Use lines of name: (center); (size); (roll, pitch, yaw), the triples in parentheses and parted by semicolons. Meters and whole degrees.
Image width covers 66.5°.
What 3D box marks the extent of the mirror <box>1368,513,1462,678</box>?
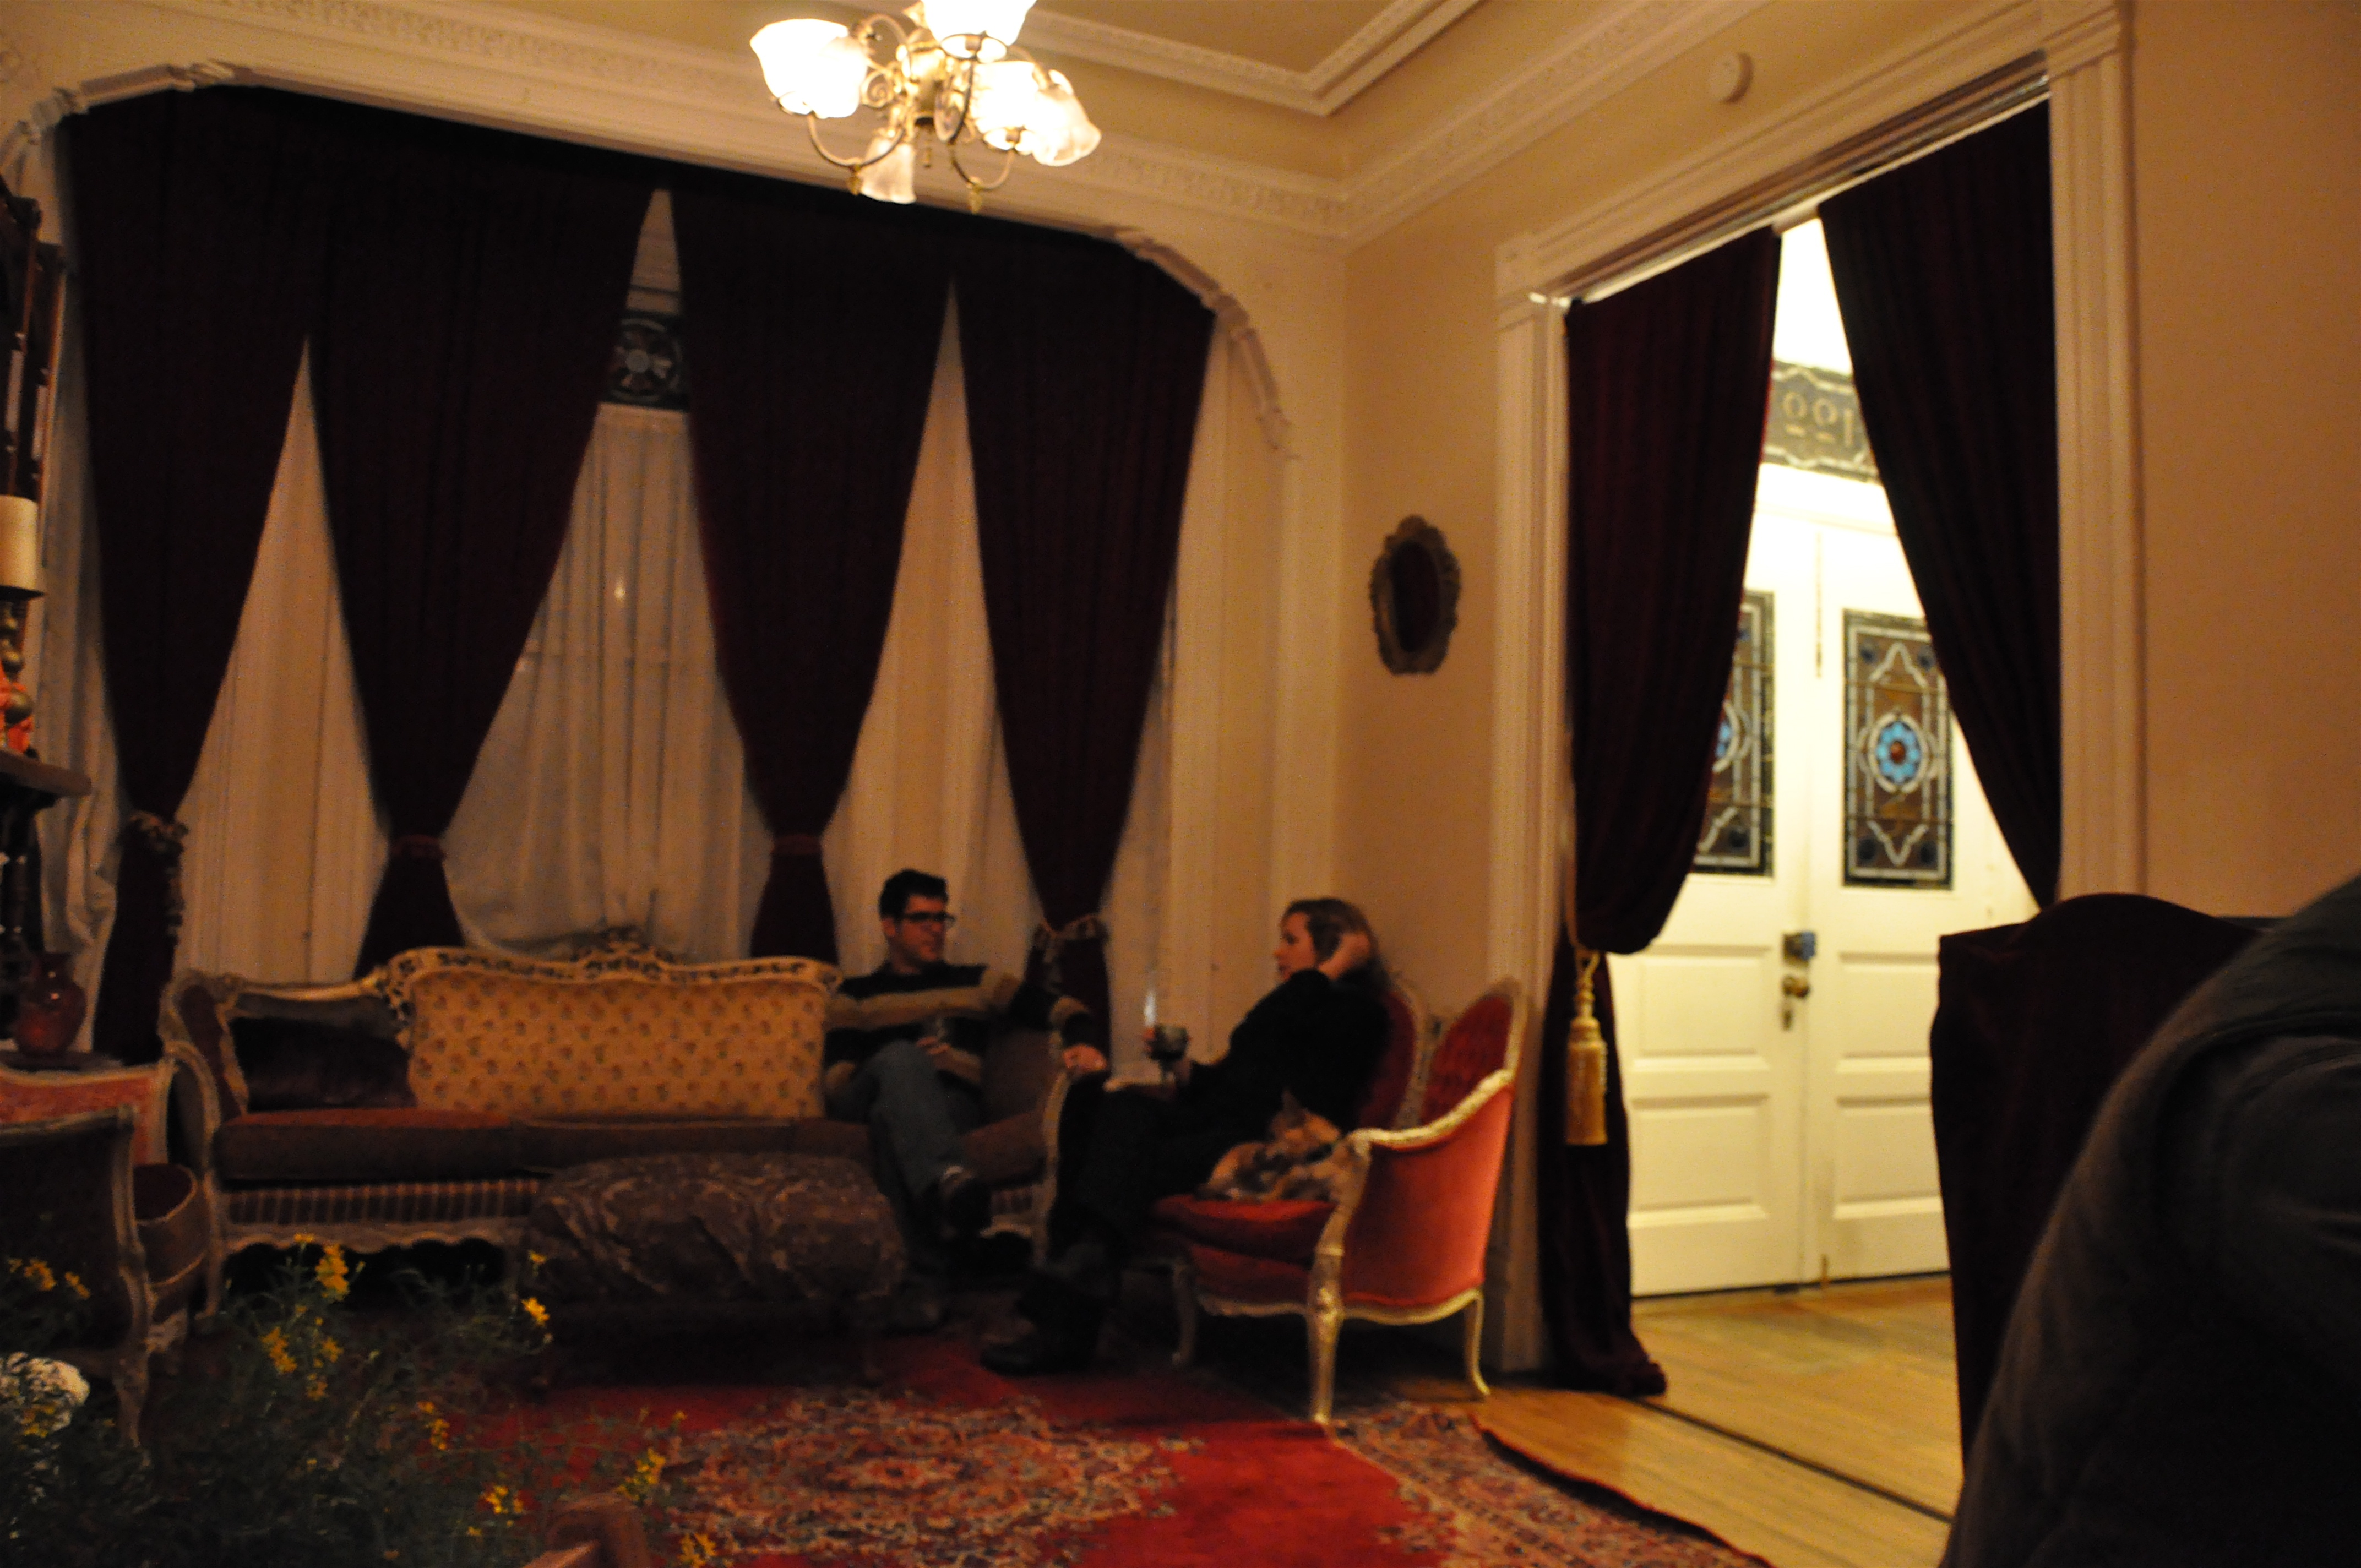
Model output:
mirror: (0.840, -0.658, 6.341); (0.046, 0.668, 0.523); (5, -8, -21)

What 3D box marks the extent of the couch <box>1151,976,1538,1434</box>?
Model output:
couch: (0.434, 1.338, 5.638); (1.152, 1.438, 1.083); (11, -17, -27)

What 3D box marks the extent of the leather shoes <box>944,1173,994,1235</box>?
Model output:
leather shoes: (-0.672, 1.277, 5.557); (0.128, 0.171, 0.169); (7, -22, -23)

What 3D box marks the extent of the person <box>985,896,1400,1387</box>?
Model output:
person: (0.085, 1.029, 5.790); (0.908, 1.489, 0.614); (13, 6, -12)

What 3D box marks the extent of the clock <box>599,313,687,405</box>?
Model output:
clock: (-1.989, -1.539, 6.583); (0.331, 0.357, 0.110); (-2, 2, -20)

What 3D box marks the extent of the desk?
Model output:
desk: (-1.338, 1.388, 5.244); (1.072, 0.423, 0.703); (3, 1, -11)

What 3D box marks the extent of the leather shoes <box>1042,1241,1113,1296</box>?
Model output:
leather shoes: (-0.302, 1.402, 5.276); (0.210, 0.120, 0.072); (3, 1, -5)
